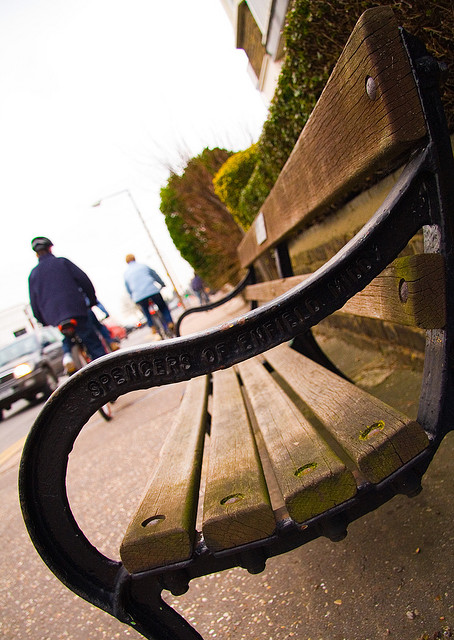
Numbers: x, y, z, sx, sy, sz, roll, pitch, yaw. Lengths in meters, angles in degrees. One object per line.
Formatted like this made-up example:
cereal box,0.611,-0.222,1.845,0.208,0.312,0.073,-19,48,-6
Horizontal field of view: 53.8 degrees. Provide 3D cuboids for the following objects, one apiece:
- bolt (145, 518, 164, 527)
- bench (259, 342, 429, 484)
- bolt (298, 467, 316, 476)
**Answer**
bolt,-0.134,0.366,0.817,0.020,0.005,0.020,-13,-1,21
bench,0.273,0.193,1.264,0.143,0.199,1.014,-29,8,0
bolt,0.144,0.269,0.799,0.016,0.003,0.016,-25,0,-10
